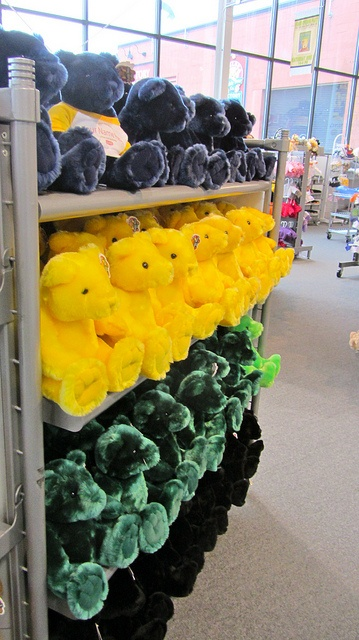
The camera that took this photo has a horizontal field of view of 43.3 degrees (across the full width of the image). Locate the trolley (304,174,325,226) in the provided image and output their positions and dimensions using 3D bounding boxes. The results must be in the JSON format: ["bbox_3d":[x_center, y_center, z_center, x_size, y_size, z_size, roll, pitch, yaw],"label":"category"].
[{"bbox_3d":[2.825,-2.594,9.838,0.280,0.844,0.485,18,27,36],"label":"trolley"}]

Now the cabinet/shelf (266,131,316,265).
[{"bbox_3d":[1.651,-1.728,6.977,0.625,1.745,0.998,2,20,41],"label":"cabinet/shelf"}]
